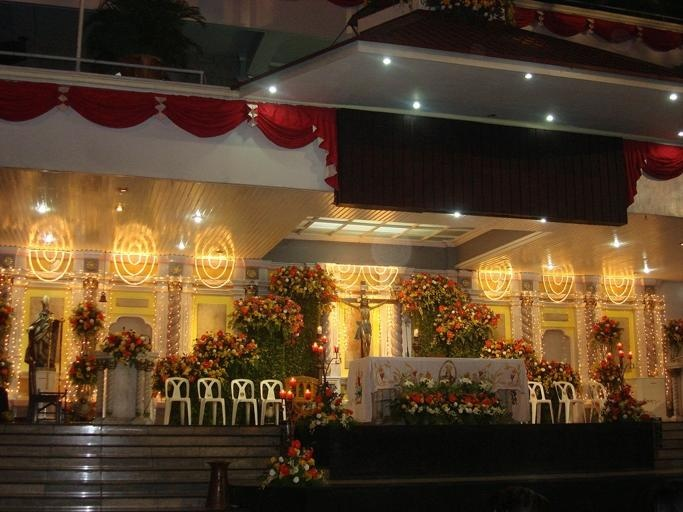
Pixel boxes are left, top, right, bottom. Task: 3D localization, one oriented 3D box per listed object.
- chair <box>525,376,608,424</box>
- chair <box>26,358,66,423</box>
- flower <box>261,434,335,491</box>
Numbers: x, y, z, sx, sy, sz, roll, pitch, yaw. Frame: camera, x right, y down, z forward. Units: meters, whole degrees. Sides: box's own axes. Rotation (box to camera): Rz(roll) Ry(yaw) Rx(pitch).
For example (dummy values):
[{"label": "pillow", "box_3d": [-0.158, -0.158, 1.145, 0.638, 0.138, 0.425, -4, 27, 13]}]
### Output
[{"label": "chair", "box_3d": [5.197, 3.446, 18.629, 1.697, 0.870, 0.574, 6, -17, -25]}, {"label": "chair", "box_3d": [-6.526, 3.041, 17.483, 0.724, 1.237, 2.838, 5, -12, -21]}, {"label": "flower", "box_3d": [-0.797, 3.546, 13.053, 0.957, 0.861, 0.980, -9, -14, 34]}]
